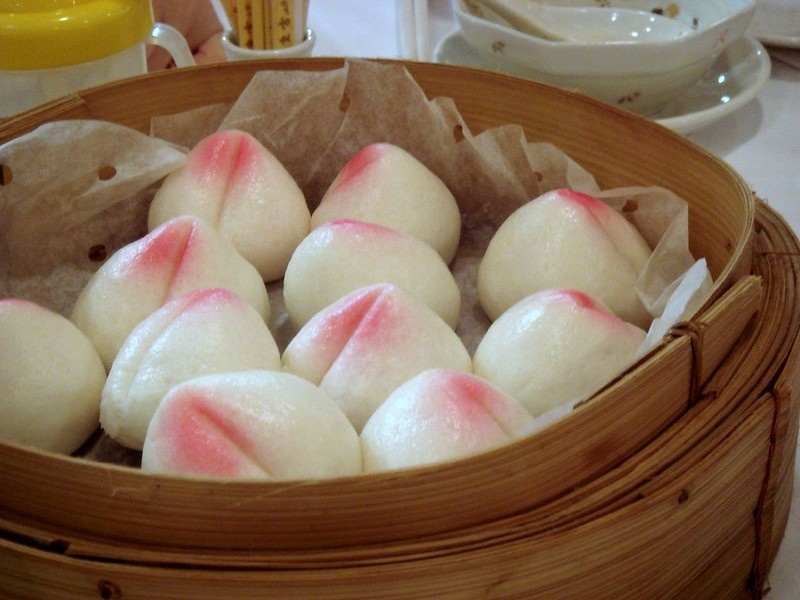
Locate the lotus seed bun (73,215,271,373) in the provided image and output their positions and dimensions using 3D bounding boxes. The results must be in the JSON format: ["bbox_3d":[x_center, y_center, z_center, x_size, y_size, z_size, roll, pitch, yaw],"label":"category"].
[{"bbox_3d":[-0.205,-0.014,0.737,0.201,0.126,0.195,3,19,-25],"label":"lotus seed bun"}]

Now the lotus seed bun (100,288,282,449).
[{"bbox_3d":[-0.172,0.040,0.611,0.124,0.071,0.136,0,87,-5],"label":"lotus seed bun"}]

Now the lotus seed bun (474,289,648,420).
[{"bbox_3d":[0.134,0.028,0.672,0.153,0.075,0.153,-1,12,-1],"label":"lotus seed bun"}]

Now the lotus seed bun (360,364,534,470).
[{"bbox_3d":[0.027,0.055,0.536,0.087,0.041,0.079,-25,25,-37],"label":"lotus seed bun"}]

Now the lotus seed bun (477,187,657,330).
[{"bbox_3d":[0.146,-0.043,0.717,0.133,0.085,0.136,-10,40,-8],"label":"lotus seed bun"}]

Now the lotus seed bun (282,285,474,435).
[{"bbox_3d":[-0.019,0.026,0.656,0.149,0.075,0.146,18,41,19],"label":"lotus seed bun"}]

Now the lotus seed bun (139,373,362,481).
[{"bbox_3d":[-0.102,0.088,0.524,0.084,0.103,0.059,-5,67,49],"label":"lotus seed bun"}]

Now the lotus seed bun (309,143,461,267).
[{"bbox_3d":[-0.027,-0.117,0.836,0.133,0.132,0.078,-3,82,22],"label":"lotus seed bun"}]
